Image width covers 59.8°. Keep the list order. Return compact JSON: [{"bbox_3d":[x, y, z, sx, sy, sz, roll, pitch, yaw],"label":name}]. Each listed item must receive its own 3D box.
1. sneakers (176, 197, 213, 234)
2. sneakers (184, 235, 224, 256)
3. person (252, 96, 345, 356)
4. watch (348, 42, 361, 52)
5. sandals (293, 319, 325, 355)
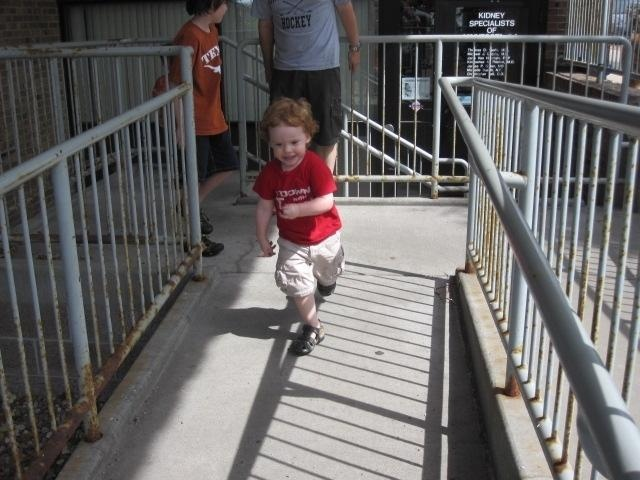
[{"bbox_3d":[-0.982,-0.179,4.367,0.150,0.211,0.462,-19,35,-39],"label":"sneakers"},{"bbox_3d":[-0.841,0.052,4.196,0.202,0.199,0.109,-16,51,-20],"label":"sneakers"},{"bbox_3d":[-0.122,-0.101,3.067,0.459,1.317,0.545,8,17,20],"label":"person"},{"bbox_3d":[0.294,-1.595,4.654,0.090,0.066,0.101,2,5,11],"label":"watch"},{"bbox_3d":[-0.055,0.535,3.017,0.091,0.105,0.223,3,5,19],"label":"sandals"}]
